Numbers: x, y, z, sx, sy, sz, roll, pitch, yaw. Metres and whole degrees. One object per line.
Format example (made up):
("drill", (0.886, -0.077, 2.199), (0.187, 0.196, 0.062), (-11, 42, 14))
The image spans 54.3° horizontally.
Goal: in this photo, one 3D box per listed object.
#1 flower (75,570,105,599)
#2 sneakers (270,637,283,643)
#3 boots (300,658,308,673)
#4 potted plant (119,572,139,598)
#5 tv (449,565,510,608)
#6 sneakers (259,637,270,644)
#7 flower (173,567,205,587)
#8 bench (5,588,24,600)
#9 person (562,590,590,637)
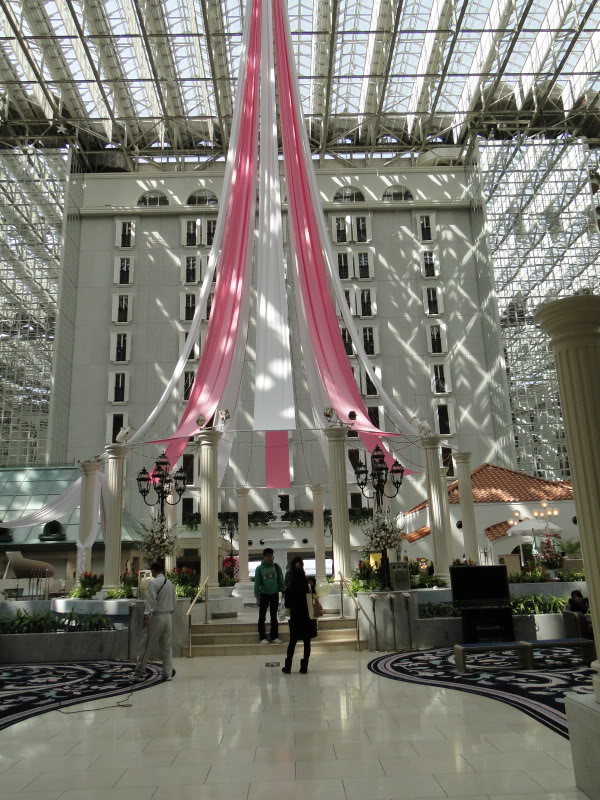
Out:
("flower", (-4.401, 3.803, 12.078), (0.450, 0.539, 0.407), (1, -35, 2))
("sneakers", (-0.417, 4.158, 10.207), (0.208, 0.092, 0.082), (-6, -8, 27))
("boots", (0.041, 3.468, 7.691), (0.084, 0.183, 0.164), (1, -17, -7))
("potted plant", (-3.473, 3.760, 11.944), (0.396, 0.499, 0.331), (4, -13, -16))
("tv", (2.782, 2.867, 9.087), (0.927, 0.653, 0.127), (-1, -7, -1))
("sneakers", (-0.627, 4.116, 10.133), (0.160, 0.063, 0.088), (-13, -14, 39))
("flower", (-2.340, 3.628, 12.076), (0.503, 0.369, 0.496), (4, -15, -6))
("bench", (-6.958, 4.633, 14.210), (0.436, 0.204, 2.667), (6, -18, -24))
("person", (4.426, 3.412, 9.417), (0.386, 0.707, 2.036), (-9, -18, 22))
